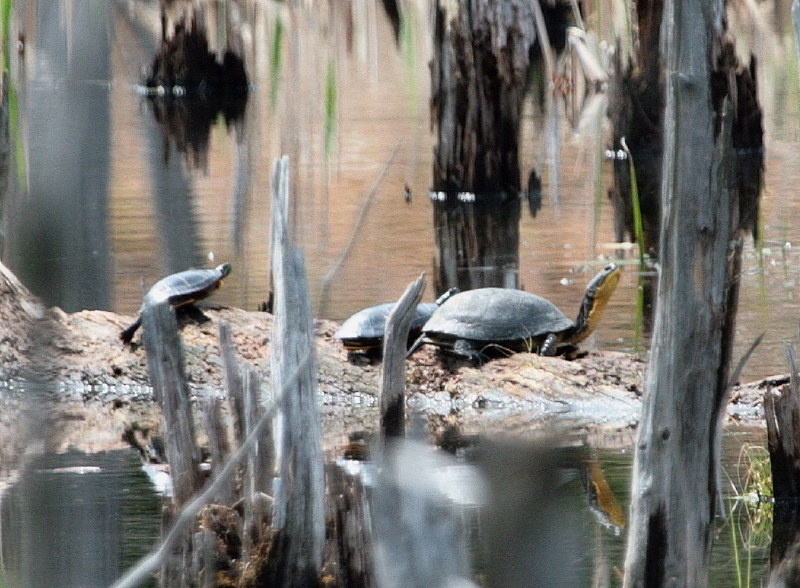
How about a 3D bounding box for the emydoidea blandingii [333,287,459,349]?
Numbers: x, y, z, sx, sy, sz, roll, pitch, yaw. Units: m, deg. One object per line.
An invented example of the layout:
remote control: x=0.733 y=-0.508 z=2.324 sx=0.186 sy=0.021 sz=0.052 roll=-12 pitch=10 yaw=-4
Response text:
emydoidea blandingii: x=-0.187 y=0.650 z=34.860 sx=1.933 sy=0.776 sz=0.673 roll=-2 pitch=2 yaw=-31
